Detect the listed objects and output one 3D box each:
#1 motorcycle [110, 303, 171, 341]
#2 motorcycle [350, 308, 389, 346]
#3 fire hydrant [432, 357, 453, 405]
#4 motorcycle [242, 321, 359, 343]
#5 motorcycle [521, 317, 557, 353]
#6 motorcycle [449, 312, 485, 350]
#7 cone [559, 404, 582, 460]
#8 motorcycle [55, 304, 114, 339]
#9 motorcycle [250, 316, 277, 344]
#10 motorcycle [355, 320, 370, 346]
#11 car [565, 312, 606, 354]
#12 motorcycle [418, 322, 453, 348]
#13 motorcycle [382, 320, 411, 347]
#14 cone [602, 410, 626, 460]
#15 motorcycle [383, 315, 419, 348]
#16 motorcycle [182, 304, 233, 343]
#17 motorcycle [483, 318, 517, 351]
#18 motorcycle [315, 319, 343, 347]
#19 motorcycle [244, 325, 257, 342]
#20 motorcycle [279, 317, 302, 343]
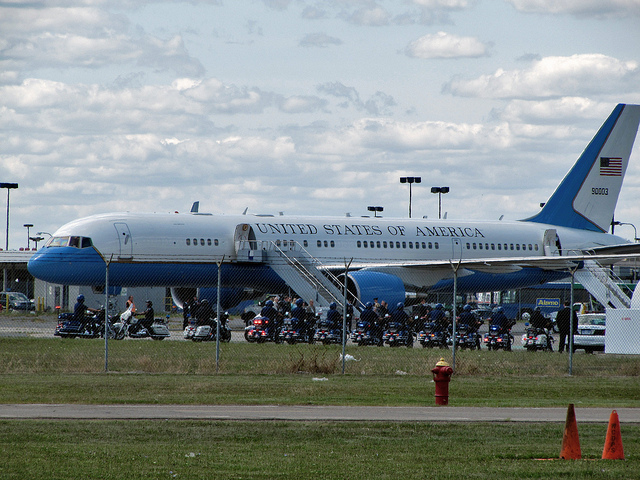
[{"bbox_3d":[-6.852,3.287,59.361,2.101,1.107,0.983,3,-3,-8],"label":"motorcycle"},{"bbox_3d":[1.643,3.363,59.986,1.134,1.279,2.251,8,8,6],"label":"motorcycle"},{"bbox_3d":[3.548,4.075,45.013,0.537,1.267,1.047,1,-7,5],"label":"fire hydrant"},{"bbox_3d":[-1.005,3.654,60.097,3.403,1.698,1.603,0,0,-7],"label":"motorcycle"},{"bbox_3d":[8.345,3.706,59.295,1.134,1.068,1.459,1,-7,1],"label":"motorcycle"},{"bbox_3d":[5.607,3.513,59.997,1.022,1.182,2.125,8,10,5],"label":"motorcycle"},{"bbox_3d":[6.450,4.866,39.897,0.571,1.380,1.096,0,-7,9],"label":"cone"},{"bbox_3d":[-8.651,3.107,58.281,2.366,1.175,0.878,3,-3,-19],"label":"motorcycle"},{"bbox_3d":[-2.278,3.406,59.692,0.701,1.012,0.393,-5,-10,43],"label":"motorcycle"},{"bbox_3d":[1.653,3.464,59.347,0.489,0.527,0.947,1,0,8],"label":"motorcycle"},{"bbox_3d":[10.388,3.611,59.984,1.462,1.934,1.301,-2,1,18],"label":"car"},{"bbox_3d":[4.265,3.601,59.324,0.887,0.949,0.474,1,-7,2],"label":"motorcycle"},{"bbox_3d":[3.058,3.554,59.734,0.671,0.693,1.326,0,0,29],"label":"motorcycle"},{"bbox_3d":[7.572,4.955,39.907,0.557,1.210,0.608,-2,-8,27],"label":"cone"},{"bbox_3d":[2.949,3.487,60.108,1.037,1.186,2.223,1,3,8],"label":"motorcycle"},{"bbox_3d":[-4.288,3.218,59.655,2.160,1.307,0.856,1,-10,-39],"label":"motorcycle"},{"bbox_3d":[6.985,3.672,59.977,0.743,0.892,1.523,-4,-1,32],"label":"motorcycle"},{"bbox_3d":[0.344,3.517,59.530,1.008,1.025,1.923,1,-7,-2],"label":"motorcycle"},{"bbox_3d":[-2.631,3.579,59.999,0.355,0.670,0.866,3,-7,-11],"label":"motorcycle"},{"bbox_3d":[-1.066,3.458,59.299,0.759,0.382,0.947,2,5,8],"label":"motorcycle"}]
